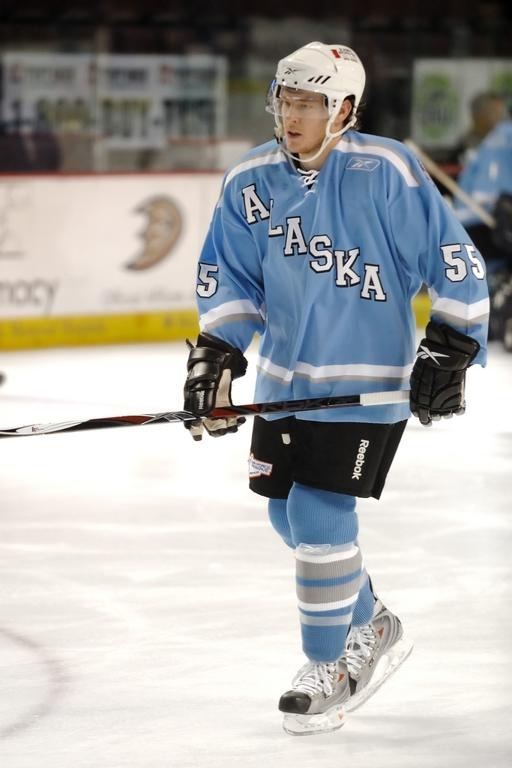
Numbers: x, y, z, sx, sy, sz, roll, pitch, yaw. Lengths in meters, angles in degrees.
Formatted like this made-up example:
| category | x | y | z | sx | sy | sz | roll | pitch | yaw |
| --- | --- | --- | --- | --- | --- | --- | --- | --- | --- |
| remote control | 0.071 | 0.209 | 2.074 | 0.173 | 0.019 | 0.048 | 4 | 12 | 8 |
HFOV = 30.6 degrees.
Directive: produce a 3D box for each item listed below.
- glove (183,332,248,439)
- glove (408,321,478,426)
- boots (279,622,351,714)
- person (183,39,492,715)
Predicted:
| category | x | y | z | sx | sy | sz | roll | pitch | yaw |
| --- | --- | --- | --- | --- | --- | --- | --- | --- | --- |
| glove | -0.084 | 0.007 | 1.830 | 0.157 | 0.184 | 0.092 | 7 | -16 | -15 |
| glove | 0.334 | -0.021 | 1.666 | 0.108 | 0.179 | 0.049 | 3 | 9 | 17 |
| boots | 0.107 | 0.538 | 1.697 | 0.078 | 0.112 | 0.189 | -7 | -7 | 35 |
| person | 0.121 | -0.017 | 1.767 | 0.476 | 1.259 | 0.416 | -4 | 10 | -23 |
